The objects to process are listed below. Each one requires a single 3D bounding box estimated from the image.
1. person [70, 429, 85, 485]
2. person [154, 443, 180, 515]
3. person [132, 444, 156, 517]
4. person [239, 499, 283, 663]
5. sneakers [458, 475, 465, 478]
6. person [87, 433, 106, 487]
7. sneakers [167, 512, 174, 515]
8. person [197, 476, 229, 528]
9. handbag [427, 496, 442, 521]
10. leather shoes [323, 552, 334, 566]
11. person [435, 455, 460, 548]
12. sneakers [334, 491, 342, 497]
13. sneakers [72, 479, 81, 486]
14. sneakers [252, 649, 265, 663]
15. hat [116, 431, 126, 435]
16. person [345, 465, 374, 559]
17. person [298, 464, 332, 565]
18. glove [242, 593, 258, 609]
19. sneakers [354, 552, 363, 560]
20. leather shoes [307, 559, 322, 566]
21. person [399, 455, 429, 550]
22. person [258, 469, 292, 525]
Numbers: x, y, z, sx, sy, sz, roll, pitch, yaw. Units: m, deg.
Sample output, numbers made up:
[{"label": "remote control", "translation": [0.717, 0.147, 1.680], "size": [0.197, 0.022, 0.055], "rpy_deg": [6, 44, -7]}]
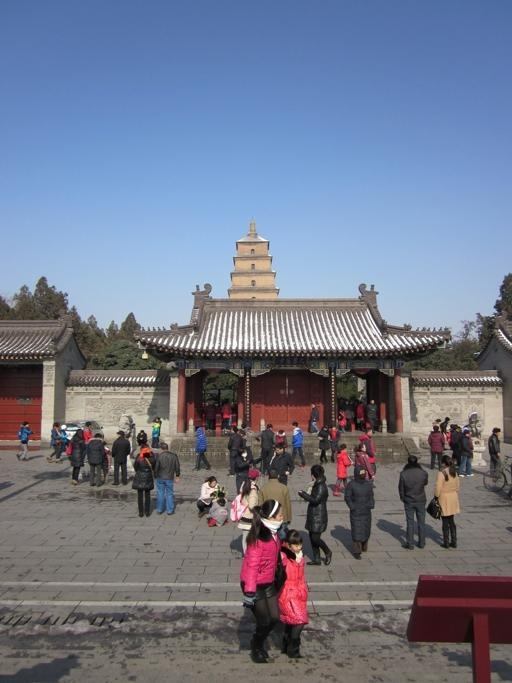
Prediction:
[{"label": "person", "translation": [-4.812, 3.087, 14.395], "size": [0.371, 1.403, 0.585], "rpy_deg": [3, -8, -19]}, {"label": "person", "translation": [-1.793, 2.733, 10.677], "size": [0.442, 1.447, 1.501], "rpy_deg": [1, -8, -10]}, {"label": "person", "translation": [-2.219, 2.758, 10.528], "size": [0.396, 1.362, 0.960], "rpy_deg": [2, -8, -13]}, {"label": "person", "translation": [0.050, 2.131, 4.648], "size": [0.334, 1.447, 0.547], "rpy_deg": [-1, -8, 5]}, {"label": "sneakers", "translation": [5.859, 3.819, 15.129], "size": [0.083, 0.086, 0.204], "rpy_deg": [-2, -27, 8]}, {"label": "person", "translation": [-4.063, 3.034, 13.557], "size": [0.437, 1.333, 0.843], "rpy_deg": [2, -8, -16]}, {"label": "sneakers", "translation": [-1.724, 3.440, 10.704], "size": [0.126, 0.052, 0.042], "rpy_deg": [1, -1, -24]}, {"label": "person", "translation": [-0.807, 3.151, 10.242], "size": [0.689, 0.989, 0.863], "rpy_deg": [1, -25, -3]}, {"label": "handbag", "translation": [2.777, 2.586, 8.279], "size": [0.216, 0.296, 0.378], "rpy_deg": [-3, -8, 17]}, {"label": "leather shoes", "translation": [1.043, 3.084, 7.612], "size": [0.103, 0.239, 0.088], "rpy_deg": [21, -29, -14]}, {"label": "person", "translation": [2.996, 2.509, 8.349], "size": [0.336, 1.455, 0.757], "rpy_deg": [-4, -9, 24]}, {"label": "sneakers", "translation": [1.984, 3.673, 12.864], "size": [0.112, 0.153, 0.227], "rpy_deg": [3, -21, -10]}, {"label": "sneakers", "translation": [-4.772, 3.726, 14.134], "size": [0.154, 0.107, 0.160], "rpy_deg": [-1, -5, -2]}, {"label": "sneakers", "translation": [0.028, 2.825, 4.773], "size": [0.067, 0.121, 0.171], "rpy_deg": [3, -38, -6]}, {"label": "hat", "translation": [-3.311, 2.230, 13.050], "size": [0.202, 0.101, 0.280], "rpy_deg": [3, -3, -3]}, {"label": "person", "translation": [1.568, 2.562, 8.079], "size": [0.408, 1.340, 0.871], "rpy_deg": [-1, -8, 10]}, {"label": "person", "translation": [0.884, 2.506, 7.772], "size": [0.419, 1.450, 1.454], "rpy_deg": [-1, -8, 8]}, {"label": "glove", "translation": [-0.050, 2.175, 4.498], "size": [0.131, 0.058, 0.166], "rpy_deg": [1, -9, -1]}, {"label": "sneakers", "translation": [1.535, 3.189, 7.950], "size": [0.118, 0.100, 0.095], "rpy_deg": [-4, -11, 16]}, {"label": "leather shoes", "translation": [0.829, 3.116, 7.559], "size": [0.248, 0.097, 0.091], "rpy_deg": [0, -20, 11]}, {"label": "person", "translation": [2.468, 2.517, 8.316], "size": [0.397, 1.443, 0.593], "rpy_deg": [-2, -8, 16]}, {"label": "person", "translation": [0.303, 2.369, 7.468], "size": [0.501, 1.038, 0.325], "rpy_deg": [-2, 3, 8]}]
